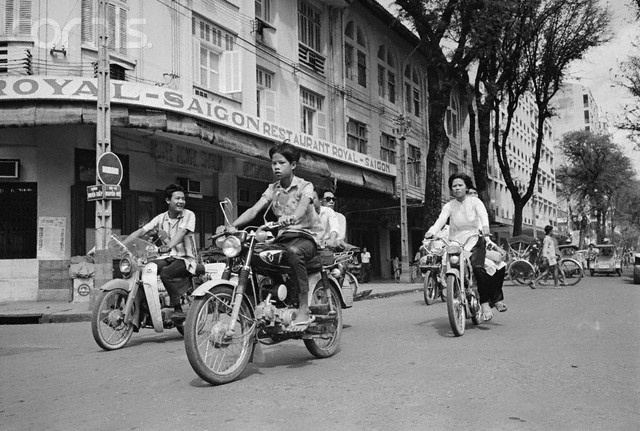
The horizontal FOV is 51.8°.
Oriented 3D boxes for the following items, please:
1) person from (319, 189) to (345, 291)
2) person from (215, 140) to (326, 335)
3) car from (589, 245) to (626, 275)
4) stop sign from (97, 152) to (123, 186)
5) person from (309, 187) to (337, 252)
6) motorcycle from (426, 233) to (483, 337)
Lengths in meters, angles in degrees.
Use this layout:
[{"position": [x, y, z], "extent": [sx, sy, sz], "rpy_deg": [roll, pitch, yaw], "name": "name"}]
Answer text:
[{"position": [0.214, 0.099, 12.702], "extent": [0.638, 1.113, 1.610], "rpy_deg": [-7, -20, 15], "name": "person"}, {"position": [-0.720, 0.398, 10.291], "extent": [1.070, 3.102, 1.297], "rpy_deg": [-1, -1, 33], "name": "person"}, {"position": [14.989, 2.329, 34.650], "extent": [1.444, 1.677, 1.616], "rpy_deg": [-5, -6, 21], "name": "car"}, {"position": [-5.231, -1.179, 16.359], "extent": [0.619, 0.886, 0.367], "rpy_deg": [0, -6, -29], "name": "stop sign"}, {"position": [0.033, 0.138, 12.966], "extent": [0.701, 1.079, 0.605], "rpy_deg": [-4, 28, 31], "name": "person"}, {"position": [2.615, 1.336, 12.676], "extent": [0.575, 1.845, 2.016], "rpy_deg": [0, -1, 24], "name": "motorcycle"}]
